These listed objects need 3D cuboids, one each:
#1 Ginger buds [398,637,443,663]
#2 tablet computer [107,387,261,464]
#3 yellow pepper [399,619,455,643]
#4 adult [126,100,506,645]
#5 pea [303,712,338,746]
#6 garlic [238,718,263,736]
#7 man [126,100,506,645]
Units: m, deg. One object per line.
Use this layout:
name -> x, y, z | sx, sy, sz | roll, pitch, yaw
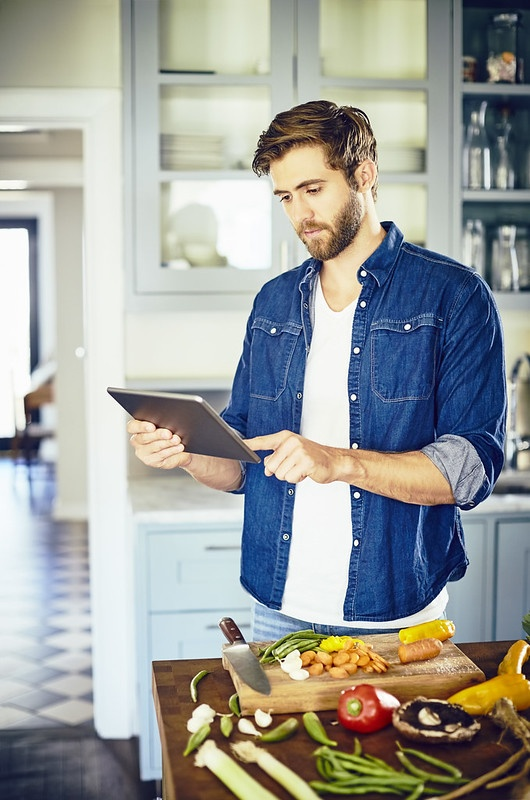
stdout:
Ginger buds -> 0.209, 0.334, 1.044 | 0.052, 0.024, 0.020 | -14, 8, -15
tablet computer -> -0.127, 0.046, 1.124 | 0.194, 0.123, 0.359 | 0, 4, -12
yellow pepper -> 0.227, 0.316, 1.081 | 0.070, 0.023, 0.033 | 0, 8, -25
adult -> 0.111, -0.026, 1.277 | 0.547, 0.949, 0.488 | 2, 4, 21
pea -> 0.061, 0.385, 0.900 | 0.014, 0.011, 0.041 | 9, 8, -14
garlic -> -0.017, 0.387, 0.910 | 0.020, 0.012, 0.006 | 28, -3, 34
man -> 0.111, -0.026, 1.277 | 0.547, 0.949, 0.488 | 2, 4, 21
